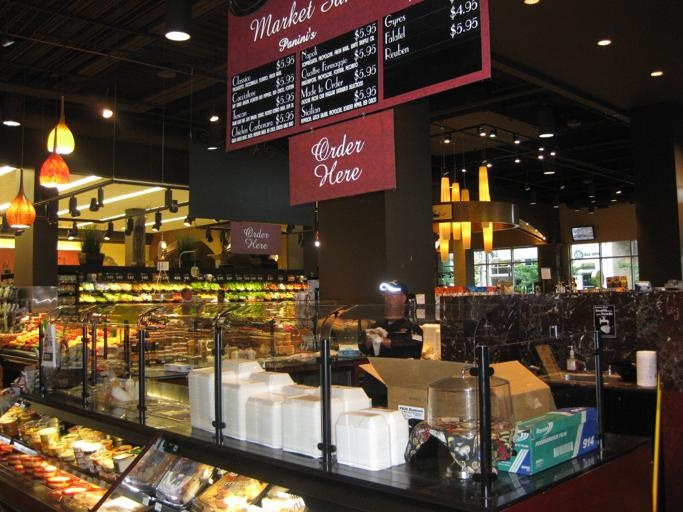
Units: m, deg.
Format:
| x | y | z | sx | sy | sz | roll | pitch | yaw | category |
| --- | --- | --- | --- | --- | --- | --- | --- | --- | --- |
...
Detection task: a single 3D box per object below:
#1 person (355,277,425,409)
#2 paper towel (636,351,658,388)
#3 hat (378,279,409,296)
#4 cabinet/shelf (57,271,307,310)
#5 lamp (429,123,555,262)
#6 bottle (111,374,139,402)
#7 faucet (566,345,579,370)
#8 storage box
| x | y | z | sx | sy | sz | roll | pitch | yaw | category |
| --- | --- | --- | --- | --- | --- | --- | --- | --- | --- |
| 0.274 | 0.643 | 3.521 | 0.357 | 0.976 | 0.328 | 13 | 15 | 40 | person |
| 2.498 | 0.911 | 4.727 | 0.159 | 0.285 | 0.245 | -1 | -4 | 28 | paper towel |
| 0.469 | 0.265 | 4.994 | 0.200 | 0.068 | 0.136 | 15 | -10 | -33 | hat |
| -3.333 | 0.643 | 12.885 | 1.877 | 0.769 | 5.386 | -2 | -4 | 38 | cabinet/shelf |
| 2.834 | -0.976 | 10.497 | 1.974 | 2.329 | 3.355 | -2 | -5 | 7 | lamp |
| -1.461 | 0.890 | 3.880 | 0.258 | 0.155 | 0.052 | -1 | -4 | 31 | bottle |
| 2.218 | 0.972 | 5.564 | 0.104 | 0.236 | 0.201 | -1 | -4 | 21 | faucet |
| 0.593 | 0.677 | 3.035 | 0.984 | 0.311 | 0.686 | 0 | -3 | 13 | storage box |
